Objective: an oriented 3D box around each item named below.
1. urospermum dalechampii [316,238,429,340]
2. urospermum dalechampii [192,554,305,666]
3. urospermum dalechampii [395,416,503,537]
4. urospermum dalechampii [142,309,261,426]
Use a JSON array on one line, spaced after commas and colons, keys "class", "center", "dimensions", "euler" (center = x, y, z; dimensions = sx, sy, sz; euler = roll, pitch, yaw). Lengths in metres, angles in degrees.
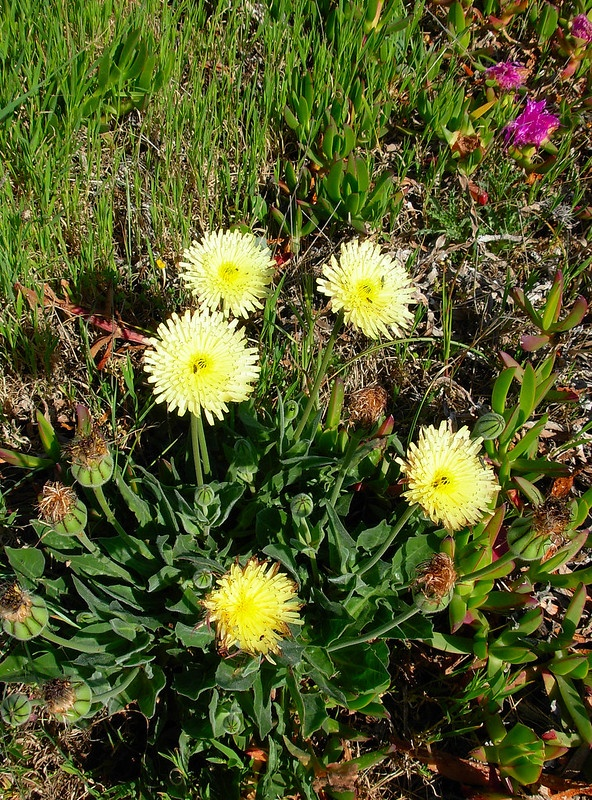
[{"class": "urospermum dalechampii", "center": [0.163, -0.304, 1.549], "dimensions": [0.210, 0.219, 0.096], "euler": [6, 93, -47]}, {"class": "urospermum dalechampii", "center": [-0.091, 0.446, 1.303], "dimensions": [0.185, 0.116, 0.202], "euler": [42, 59, 14]}, {"class": "urospermum dalechampii", "center": [0.333, 0.184, 1.445], "dimensions": [0.250, 0.120, 0.280], "euler": [13, 60, -24]}, {"class": "urospermum dalechampii", "center": [-0.229, -0.066, 1.415], "dimensions": [0.243, 0.105, 0.282], "euler": [-4, 72, -23]}]
